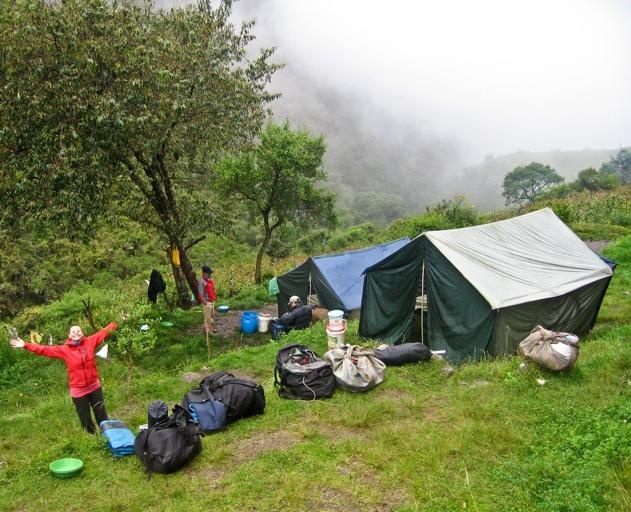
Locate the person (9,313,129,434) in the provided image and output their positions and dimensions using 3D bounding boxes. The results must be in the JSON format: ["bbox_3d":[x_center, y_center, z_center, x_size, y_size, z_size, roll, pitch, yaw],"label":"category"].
[{"bbox_3d":[-5.579,2.732,12.370,1.452,1.920,0.382,-27,8,-41],"label":"person"}]

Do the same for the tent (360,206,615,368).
[{"bbox_3d":[4.296,0.681,13.805,5.988,3.121,3.492,-11,6,-19],"label":"tent"}]

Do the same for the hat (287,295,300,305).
[{"bbox_3d":[-0.676,1.307,16.237,0.227,0.197,0.308,-6,12,-42],"label":"hat"}]

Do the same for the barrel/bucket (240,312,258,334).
[{"bbox_3d":[-2.109,2.070,17.252,0.536,0.678,0.581,0,1,0],"label":"barrel/bucket"}]

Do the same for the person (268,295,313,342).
[{"bbox_3d":[-0.735,1.788,16.018,1.076,1.231,1.399,-5,0,-44],"label":"person"}]

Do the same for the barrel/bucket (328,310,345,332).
[{"bbox_3d":[0.491,1.513,12.860,0.309,0.393,0.412,2,10,10],"label":"barrel/bucket"}]

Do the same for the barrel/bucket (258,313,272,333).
[{"bbox_3d":[-1.638,2.074,17.247,0.465,0.548,0.470,3,6,0],"label":"barrel/bucket"}]

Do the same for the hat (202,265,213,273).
[{"bbox_3d":[-3.178,0.394,15.856,0.256,0.257,0.350,-11,6,-24],"label":"hat"}]
